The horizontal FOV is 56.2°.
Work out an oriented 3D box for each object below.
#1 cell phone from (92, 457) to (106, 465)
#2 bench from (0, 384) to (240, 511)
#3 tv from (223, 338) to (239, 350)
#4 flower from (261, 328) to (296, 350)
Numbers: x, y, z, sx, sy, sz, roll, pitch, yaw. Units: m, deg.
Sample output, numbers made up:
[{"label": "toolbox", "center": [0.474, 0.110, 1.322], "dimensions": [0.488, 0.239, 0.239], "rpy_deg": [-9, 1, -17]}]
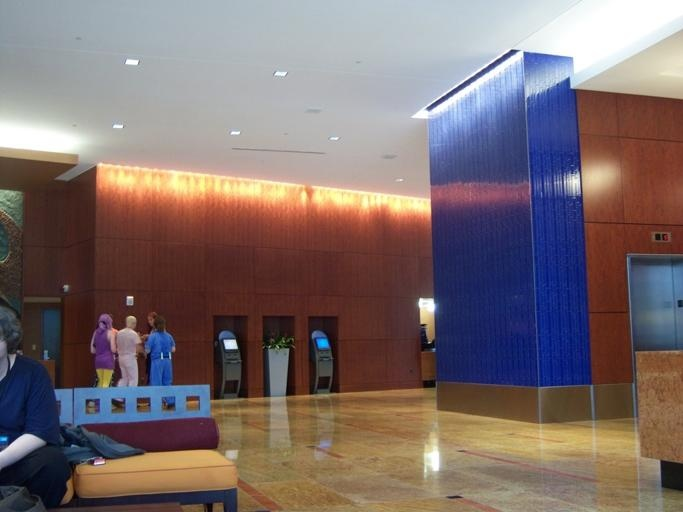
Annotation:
[{"label": "cell phone", "center": [-1.703, 1.441, 4.481], "dimensions": [0.107, 0.044, 0.089], "rpy_deg": [-7, -8, 39]}, {"label": "bench", "center": [-1.470, 1.489, 4.891], "dimensions": [1.384, 1.109, 1.059], "rpy_deg": [3, -17, -19]}, {"label": "tv", "center": [-2.467, 1.935, 14.069], "dimensions": [0.222, 0.207, 0.113], "rpy_deg": [6, -40, -32]}, {"label": "flower", "center": [-1.460, 1.939, 14.877], "dimensions": [0.506, 0.303, 0.510], "rpy_deg": [3, -6, 7]}]
